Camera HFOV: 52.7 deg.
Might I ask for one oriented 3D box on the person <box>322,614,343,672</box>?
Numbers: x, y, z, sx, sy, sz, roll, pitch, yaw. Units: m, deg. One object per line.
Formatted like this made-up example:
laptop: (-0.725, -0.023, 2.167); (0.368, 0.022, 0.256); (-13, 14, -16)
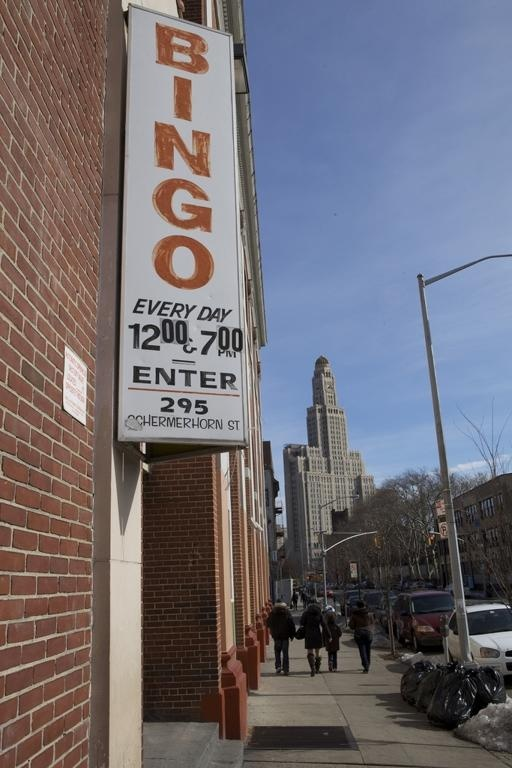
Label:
person: (2.189, 7.286, 14.820); (0.498, 1.542, 0.552); (-3, -2, 12)

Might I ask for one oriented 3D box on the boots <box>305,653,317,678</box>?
boots: (1.524, 7.547, 13.950); (0.197, 0.574, 0.656); (-7, -17, 12)
